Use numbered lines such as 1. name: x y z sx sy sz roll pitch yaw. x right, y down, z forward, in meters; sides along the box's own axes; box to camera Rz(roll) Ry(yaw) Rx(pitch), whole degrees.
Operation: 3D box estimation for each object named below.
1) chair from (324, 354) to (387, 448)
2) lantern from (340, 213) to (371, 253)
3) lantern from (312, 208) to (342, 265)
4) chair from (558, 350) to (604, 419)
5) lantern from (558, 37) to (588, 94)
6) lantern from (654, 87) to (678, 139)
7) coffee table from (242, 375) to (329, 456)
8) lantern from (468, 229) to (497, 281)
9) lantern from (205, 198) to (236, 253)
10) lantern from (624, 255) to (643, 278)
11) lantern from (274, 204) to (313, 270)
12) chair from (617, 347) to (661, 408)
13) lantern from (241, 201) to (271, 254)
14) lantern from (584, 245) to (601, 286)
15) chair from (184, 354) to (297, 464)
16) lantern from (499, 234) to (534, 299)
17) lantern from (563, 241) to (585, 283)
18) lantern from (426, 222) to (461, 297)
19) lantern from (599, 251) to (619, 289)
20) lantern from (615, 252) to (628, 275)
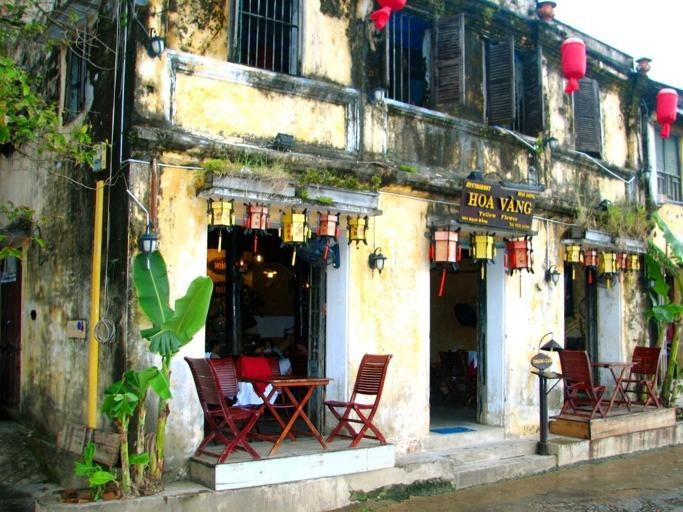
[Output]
1. chair: 0.244 2.120 11.744 0.813 1.332 0.718 7 -6 -30
2. lantern: 0.236 -0.357 12.411 0.347 0.578 0.429 -5 -6 39
3. lantern: -0.177 -0.285 12.129 0.341 0.827 0.344 7 5 28
4. chair: 4.545 2.381 14.960 0.756 1.287 3.206 -2 -10 18
5. lantern: 4.195 -3.418 14.373 0.372 1.086 0.400 -4 -19 23
6. lantern: 6.807 -3.033 16.607 0.401 1.113 0.542 -2 -8 23
7. coffee table: -0.756 2.190 11.590 0.972 1.116 1.258 2 -5 -26
8. lantern: 2.435 -0.019 13.525 0.386 0.839 0.422 3 7 27
9. lantern: -1.749 -0.531 11.395 0.376 0.572 0.435 2 -8 -11
10. lantern: 5.982 0.163 16.289 0.369 0.641 0.536 -1 -2 10
11. lantern: -0.719 -0.317 11.834 0.405 0.860 0.460 0 5 -3
12. chair: 5.851 2.373 15.633 0.923 1.542 0.734 11 -13 -42
13. lantern: -1.268 -0.412 11.818 0.351 0.627 0.721 2 -9 -7
14. lantern: 5.009 0.193 15.854 0.275 0.567 1.209 -2 -10 19
15. chair: -1.548 2.236 11.292 1.072 1.646 1.127 1 2 -39
16. lantern: 3.151 0.147 14.059 0.553 0.976 0.586 5 -9 -29
17. lantern: 4.432 0.072 15.149 0.279 0.710 0.312 2 -2 15
18. lantern: 1.678 0.030 13.097 0.485 0.980 0.513 -2 -8 18
19. lantern: 5.277 0.279 15.729 0.335 0.732 0.406 -1 -3 11
20. lantern: 5.533 0.149 15.848 0.318 0.544 0.328 -4 -6 45
